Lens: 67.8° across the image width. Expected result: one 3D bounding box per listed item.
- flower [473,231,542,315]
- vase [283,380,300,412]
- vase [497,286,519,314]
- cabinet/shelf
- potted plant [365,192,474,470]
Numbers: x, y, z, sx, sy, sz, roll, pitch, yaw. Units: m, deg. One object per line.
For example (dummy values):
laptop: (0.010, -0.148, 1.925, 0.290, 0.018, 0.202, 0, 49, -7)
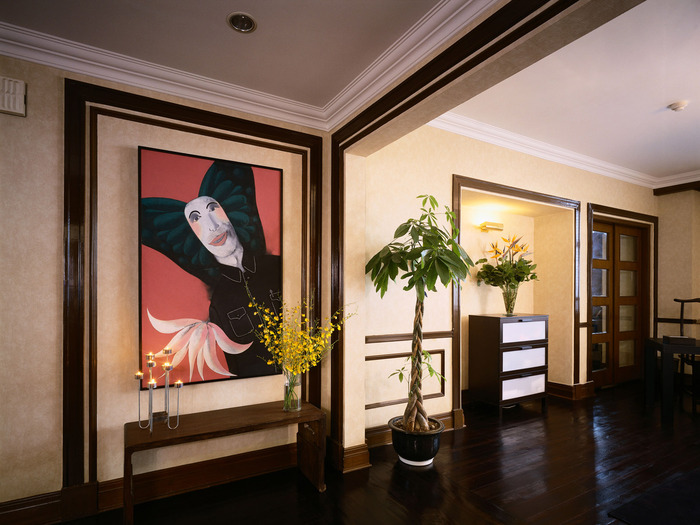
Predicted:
flower: (1.904, 0.177, 6.262, 0.699, 0.904, 0.825, -2, -1, 7)
vase: (-0.501, 1.154, 4.447, 0.195, 0.304, 0.199, 1, -6, -4)
vase: (1.888, 0.457, 6.257, 0.172, 0.436, 0.707, 5, 9, 16)
cabinet/shelf: (1.851, 1.195, 6.145, 0.766, 1.160, 0.616, -1, 1, -20)
potted plant: (0.662, 0.600, 4.905, 0.980, 2.434, 0.970, 9, 11, 41)
